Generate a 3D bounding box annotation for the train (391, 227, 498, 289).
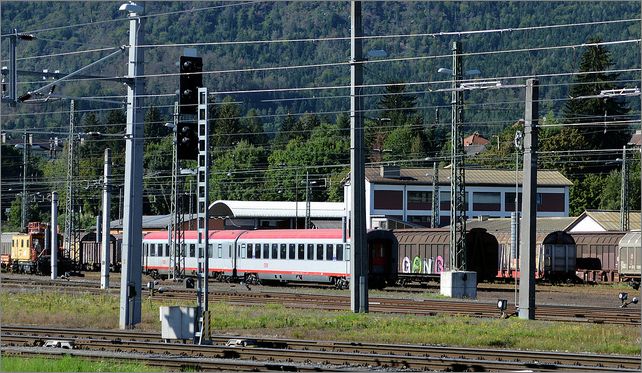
[{"bbox_3d":[33.391,18.797,364.026,25.089,14.808,8.021,0,-4,-5],"label":"train"}]
